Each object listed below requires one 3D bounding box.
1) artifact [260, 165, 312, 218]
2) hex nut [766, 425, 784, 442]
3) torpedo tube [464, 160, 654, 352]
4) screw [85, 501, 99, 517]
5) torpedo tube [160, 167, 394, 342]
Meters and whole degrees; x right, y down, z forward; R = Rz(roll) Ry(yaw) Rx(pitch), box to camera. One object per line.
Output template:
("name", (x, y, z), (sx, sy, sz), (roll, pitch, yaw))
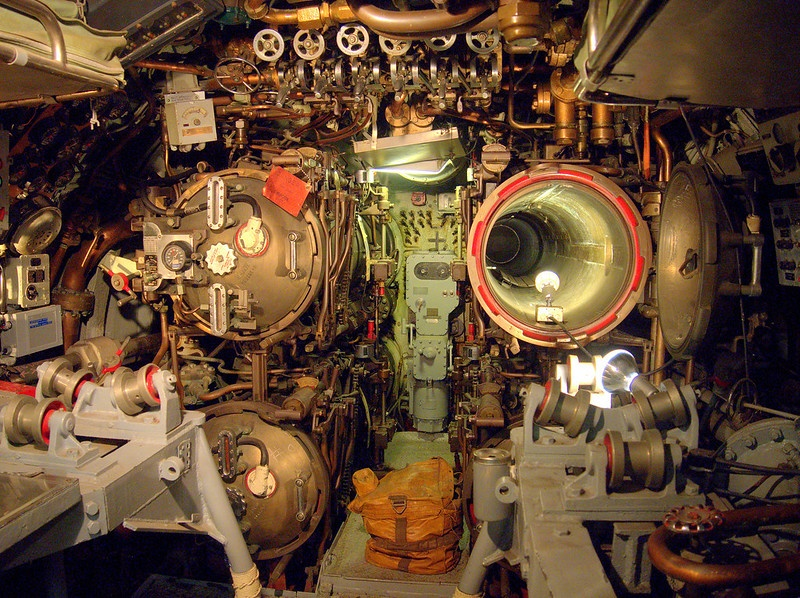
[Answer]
("artifact", (-0.986, -0.930, 5.625), (0.411, 0.409, 0.109), (33, 9, 8))
("hex nut", (2.573, 0.927, 4.463), (0.087, 0.089, 0.036), (-14, -32, 30))
("torpedo tube", (1.789, -0.467, 6.112), (1.277, 1.560, 1.401), (-7, 11, 15))
("screw", (-1.678, 1.139, 3.545), (0.077, 0.109, 0.053), (1, 9, -13))
("torpedo tube", (-1.431, -0.379, 5.749), (1.585, 1.330, 0.877), (8, -28, -7))
